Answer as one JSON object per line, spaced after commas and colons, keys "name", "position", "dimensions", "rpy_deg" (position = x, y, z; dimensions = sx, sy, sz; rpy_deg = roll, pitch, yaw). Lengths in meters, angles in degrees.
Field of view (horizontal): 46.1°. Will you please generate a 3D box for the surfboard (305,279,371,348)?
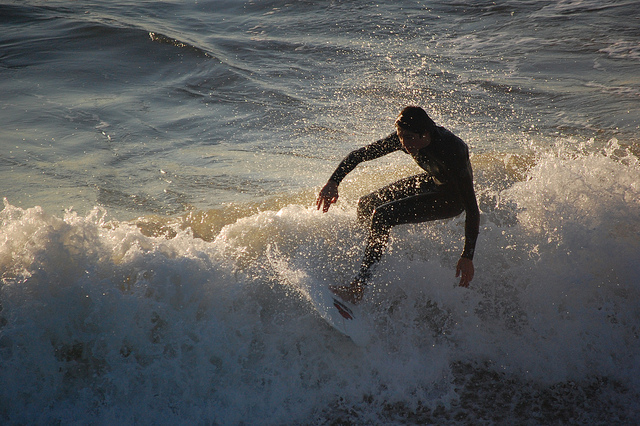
{"name": "surfboard", "position": [0.296, 1.279, 11.644], "dimensions": [0.340, 0.754, 2.131], "rpy_deg": [-48, 5, 3]}
